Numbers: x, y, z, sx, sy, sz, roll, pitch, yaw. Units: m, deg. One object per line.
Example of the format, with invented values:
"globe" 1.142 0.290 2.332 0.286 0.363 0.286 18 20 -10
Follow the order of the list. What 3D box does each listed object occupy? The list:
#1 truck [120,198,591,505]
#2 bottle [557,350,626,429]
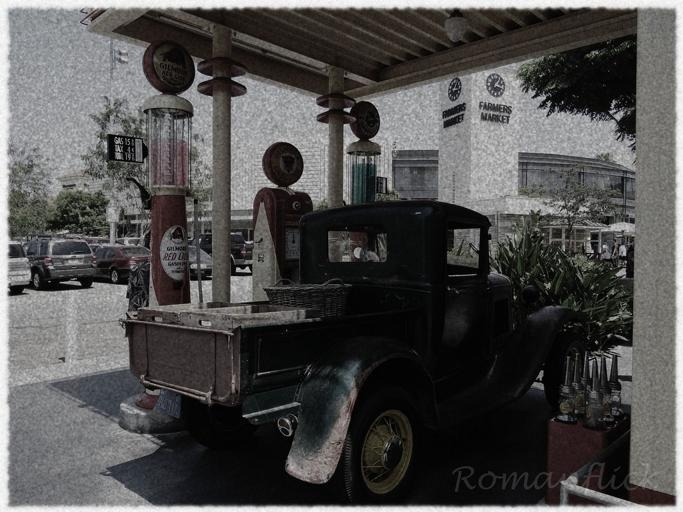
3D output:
"truck" 0.568 0.690 5.088 2.253 2.150 4.093 3 6 42
"bottle" 1.965 1.032 4.193 0.414 0.479 0.666 3 6 40
